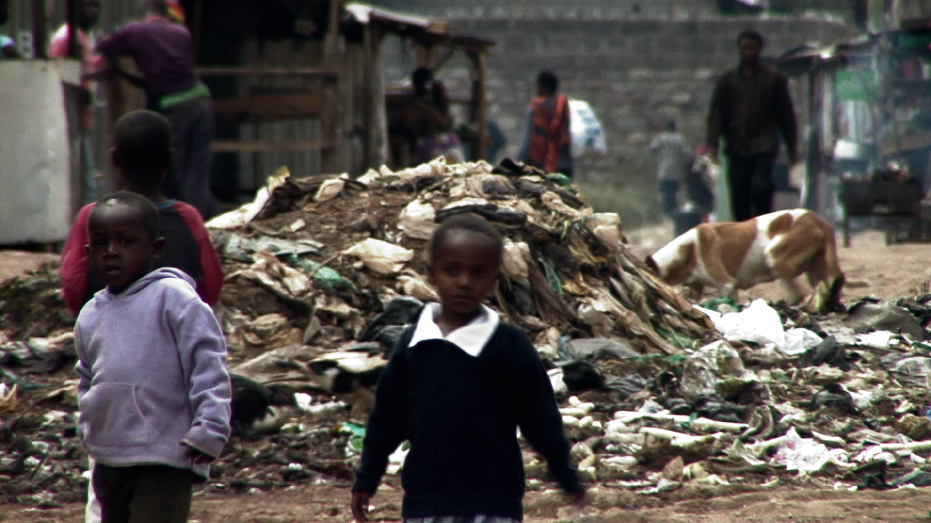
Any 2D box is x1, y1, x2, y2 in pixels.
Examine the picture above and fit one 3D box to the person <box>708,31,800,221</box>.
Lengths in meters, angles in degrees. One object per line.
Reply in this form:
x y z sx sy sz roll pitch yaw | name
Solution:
3.229 -1.536 20.804 0.995 2.130 0.510 0 1 7 | person
